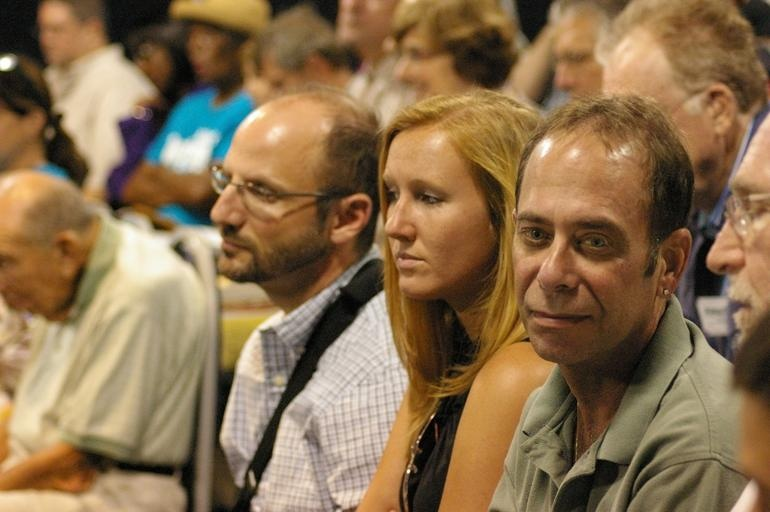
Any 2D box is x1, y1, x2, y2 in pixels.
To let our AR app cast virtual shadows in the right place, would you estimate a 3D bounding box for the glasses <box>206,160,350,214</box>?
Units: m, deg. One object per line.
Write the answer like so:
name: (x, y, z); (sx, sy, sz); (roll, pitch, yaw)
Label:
glasses: (-0.402, -0.210, 3.602); (0.515, 0.192, 0.166); (10, -2, -4)
